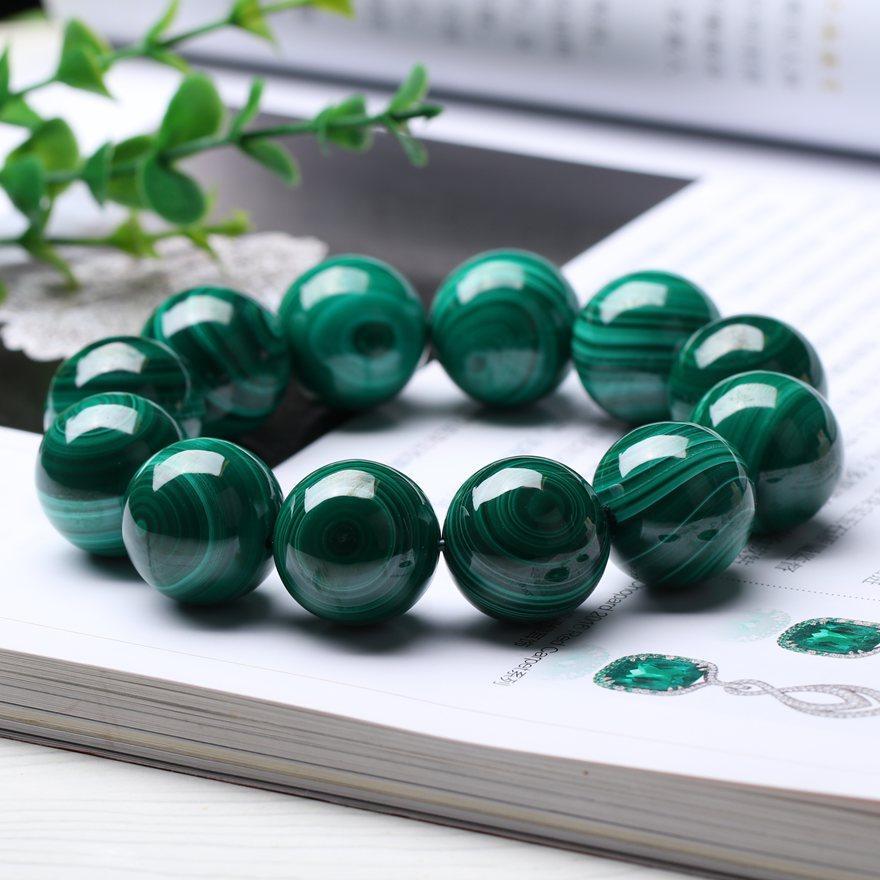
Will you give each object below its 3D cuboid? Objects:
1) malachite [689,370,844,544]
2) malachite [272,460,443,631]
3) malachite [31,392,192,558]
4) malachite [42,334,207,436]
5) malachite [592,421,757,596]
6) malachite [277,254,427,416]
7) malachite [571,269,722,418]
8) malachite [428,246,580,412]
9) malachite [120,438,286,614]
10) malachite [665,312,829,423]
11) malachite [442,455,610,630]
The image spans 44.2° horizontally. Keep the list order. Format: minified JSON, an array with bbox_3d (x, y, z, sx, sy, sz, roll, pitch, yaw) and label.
[{"bbox_3d":[0.119,0.005,0.404,0.060,0.060,0.058,-4,-20,29],"label":"malachite"},{"bbox_3d":[-0.029,0.031,0.322,0.054,0.047,0.026,-2,-4,3],"label":"malachite"},{"bbox_3d":[-0.121,0.013,0.388,0.050,0.051,0.049,12,19,26],"label":"malachite"},{"bbox_3d":[-0.128,-0.025,0.419,0.049,0.029,0.045,12,60,-6],"label":"malachite"},{"bbox_3d":[0.076,0.018,0.371,0.058,0.057,0.055,7,34,24],"label":"malachite"},{"bbox_3d":[-0.037,-0.048,0.531,0.073,0.075,0.064,-1,43,-2],"label":"malachite"},{"bbox_3d":[0.094,-0.042,0.488,0.073,0.072,0.067,6,2,0],"label":"malachite"},{"bbox_3d":[0.033,-0.052,0.509,0.078,0.078,0.072,-10,18,-15],"label":"malachite"},{"bbox_3d":[-0.080,0.027,0.362,0.059,0.059,0.056,0,7,15],"label":"malachite"},{"bbox_3d":[0.118,-0.035,0.449,0.058,0.045,0.048,11,2,-40],"label":"malachite"},{"bbox_3d":[0.027,0.032,0.356,0.063,0.061,0.058,1,62,5],"label":"malachite"}]
